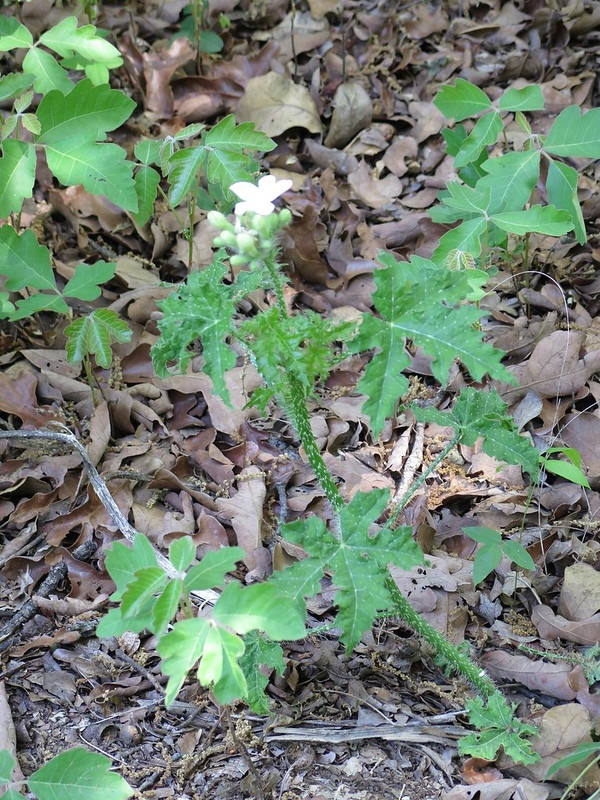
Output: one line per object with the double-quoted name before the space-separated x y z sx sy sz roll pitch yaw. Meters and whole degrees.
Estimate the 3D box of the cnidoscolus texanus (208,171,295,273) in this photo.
"cnidoscolus texanus" -0.126 -0.430 2.084 0.195 0.252 0.272 5 50 11
